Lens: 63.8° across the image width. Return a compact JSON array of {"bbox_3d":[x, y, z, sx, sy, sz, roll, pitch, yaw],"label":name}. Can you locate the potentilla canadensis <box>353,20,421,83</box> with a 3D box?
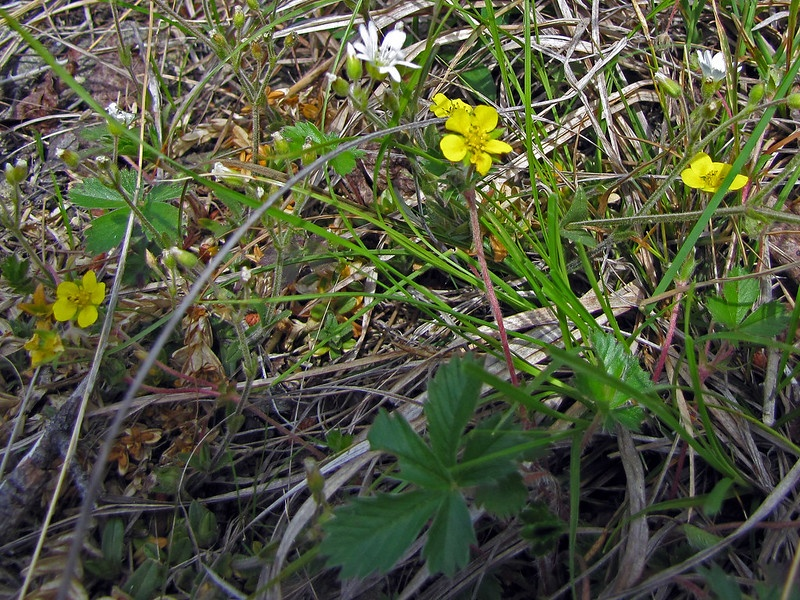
[{"bbox_3d":[-0.044,-0.943,2.413,0.255,0.171,0.220,20,63,30],"label":"potentilla canadensis"}]

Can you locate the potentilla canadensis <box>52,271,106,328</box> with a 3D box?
[{"bbox_3d":[-1.332,-0.016,2.677,0.202,0.086,0.234,13,55,-19],"label":"potentilla canadensis"}]
